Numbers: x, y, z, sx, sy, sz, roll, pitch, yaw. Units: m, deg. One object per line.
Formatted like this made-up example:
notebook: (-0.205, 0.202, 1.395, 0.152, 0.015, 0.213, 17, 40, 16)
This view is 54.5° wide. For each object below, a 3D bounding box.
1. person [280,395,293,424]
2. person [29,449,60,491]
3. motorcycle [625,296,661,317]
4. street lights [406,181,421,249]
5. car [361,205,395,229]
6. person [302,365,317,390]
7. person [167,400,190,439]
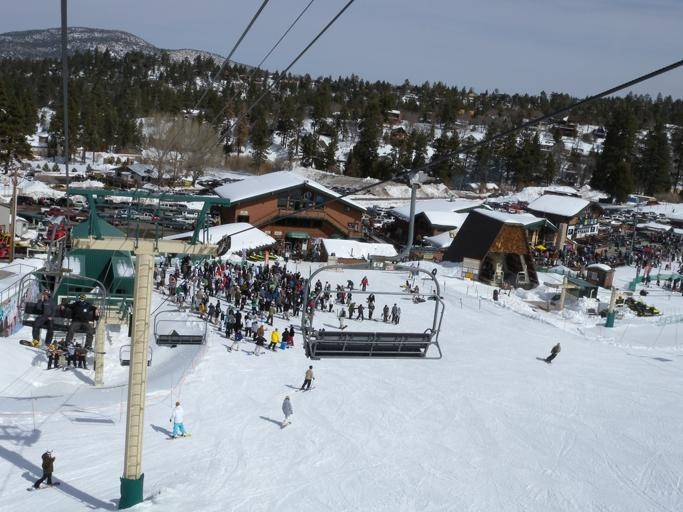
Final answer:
person: (-2.398, 6.694, 29.313, 0.468, 1.357, 1.246, 1, 5, -4)
person: (-11.366, 7.904, 25.103, 0.763, 1.513, 1.232, -1, 5, -26)
motorcycle: (22.903, 4.103, 50.352, 1.233, 0.664, 2.055, 21, 16, 4)
street lights: (2.802, -1.529, 25.873, 0.537, 2.771, 0.560, 3, -5, 21)
car: (4.292, -3.848, 78.203, 4.679, 2.714, 2.058, -1, 11, -2)
person: (-1.646, 5.739, 31.706, 0.520, 1.251, 1.097, 2, 5, 0)
person: (-7.006, 6.767, 28.253, 0.747, 1.598, 1.774, 1, 5, -14)
